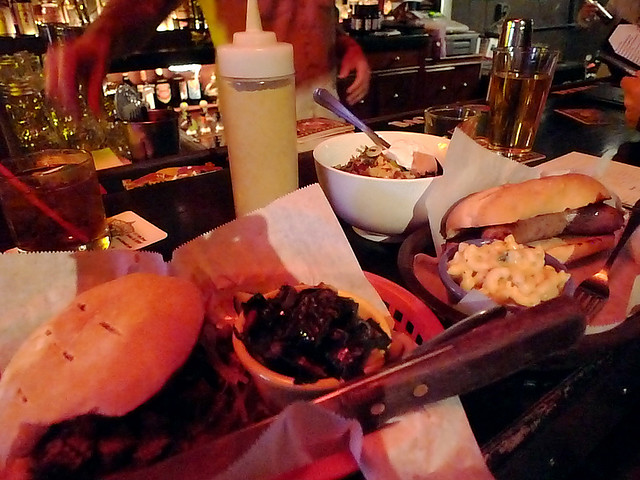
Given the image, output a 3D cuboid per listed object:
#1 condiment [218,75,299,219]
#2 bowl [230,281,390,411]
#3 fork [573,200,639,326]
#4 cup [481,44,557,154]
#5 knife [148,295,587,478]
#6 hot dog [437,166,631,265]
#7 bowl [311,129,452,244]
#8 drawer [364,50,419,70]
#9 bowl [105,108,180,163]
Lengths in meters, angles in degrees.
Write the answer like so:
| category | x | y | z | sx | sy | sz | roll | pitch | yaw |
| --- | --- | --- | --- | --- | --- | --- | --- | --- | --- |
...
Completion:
| category | x | y | z | sx | sy | sz | roll | pitch | yaw |
| --- | --- | --- | --- | --- | --- | --- | --- | --- | --- |
| condiment | -0.105 | -0.169 | 0.871 | 0.127 | 0.246 | 0.079 | -6 | 35 | -9 |
| bowl | -0.023 | 0.085 | 0.530 | 0.132 | 0.075 | 0.135 | -1 | 17 | 0 |
| fork | 0.428 | 0.031 | 0.710 | 0.034 | 0.028 | 0.255 | 17 | 43 | 36 |
| cup | 0.551 | -0.392 | 1.343 | 0.168 | 0.281 | 0.210 | 15 | 37 | 20 |
| knife | 0.043 | 0.150 | 0.466 | 0.453 | 0.053 | 0.068 | -20 | 26 | 7 |
| hot dog | 0.411 | -0.037 | 0.919 | 0.324 | 0.121 | 0.186 | -7 | 20 | -15 |
| bowl | 0.107 | -0.100 | 0.983 | 0.268 | 0.175 | 0.265 | -2 | 21 | 1 |
| drawer | 0.606 | -1.479 | 3.897 | 0.391 | 0.091 | 0.247 | -13 | 34 | -21 |
| bowl | -0.602 | -0.366 | 1.663 | 0.203 | 0.160 | 0.209 | 4 | 29 | -2 |
